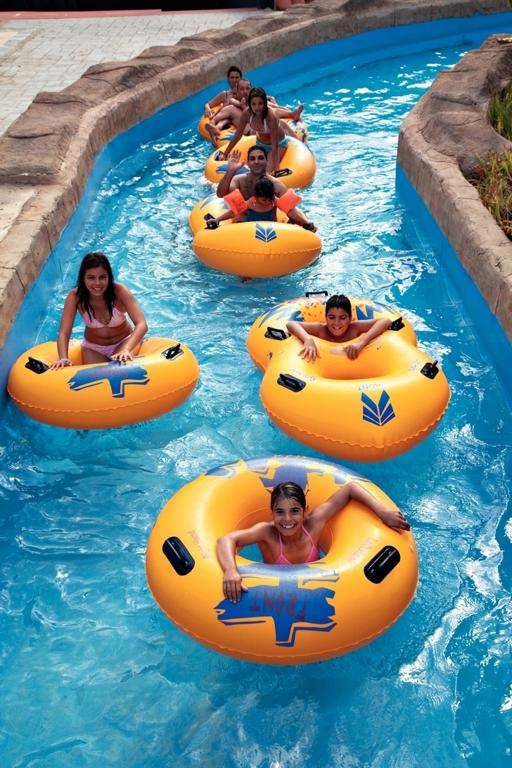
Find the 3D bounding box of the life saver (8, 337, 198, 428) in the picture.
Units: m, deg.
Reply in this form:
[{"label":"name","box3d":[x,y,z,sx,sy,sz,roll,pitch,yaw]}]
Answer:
[{"label":"life saver","box3d":[-0.926,0.026,3.703,1.152,0.357,0.526,-8,33,-2]}]

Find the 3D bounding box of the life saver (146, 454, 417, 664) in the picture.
[{"label":"life saver","box3d":[0.161,0.667,2.386,0.758,0.260,0.763,12,21,31]}]

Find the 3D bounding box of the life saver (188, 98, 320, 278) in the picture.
[{"label":"life saver","box3d":[-0.012,-1.935,6.101,1.575,0.613,2.830,0,36,0]}]

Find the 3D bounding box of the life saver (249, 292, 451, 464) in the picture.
[{"label":"life saver","box3d":[0.537,-0.019,3.609,1.039,0.378,1.159,-11,33,-7]}]
